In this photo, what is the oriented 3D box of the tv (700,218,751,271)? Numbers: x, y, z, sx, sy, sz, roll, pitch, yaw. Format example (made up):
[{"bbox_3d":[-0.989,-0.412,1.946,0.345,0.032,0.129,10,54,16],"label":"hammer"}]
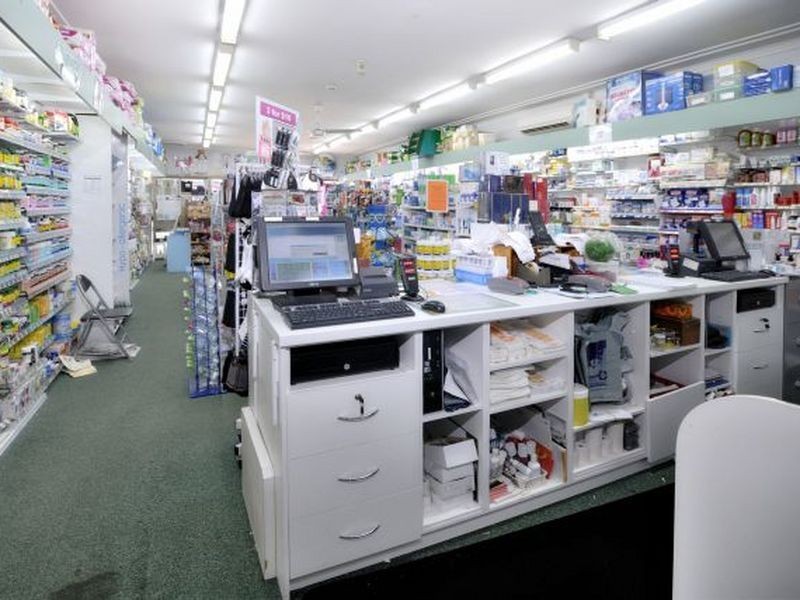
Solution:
[{"bbox_3d":[2.387,-0.430,4.178,0.406,0.382,0.111,-7,-9,-26],"label":"tv"}]

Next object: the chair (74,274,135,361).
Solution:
[{"bbox_3d":[-3.271,0.165,6.181,0.688,0.883,0.586,1,11,-28],"label":"chair"}]

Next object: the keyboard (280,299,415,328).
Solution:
[{"bbox_3d":[-0.265,0.047,2.879,0.661,0.054,0.306,-6,17,-22],"label":"keyboard"}]
